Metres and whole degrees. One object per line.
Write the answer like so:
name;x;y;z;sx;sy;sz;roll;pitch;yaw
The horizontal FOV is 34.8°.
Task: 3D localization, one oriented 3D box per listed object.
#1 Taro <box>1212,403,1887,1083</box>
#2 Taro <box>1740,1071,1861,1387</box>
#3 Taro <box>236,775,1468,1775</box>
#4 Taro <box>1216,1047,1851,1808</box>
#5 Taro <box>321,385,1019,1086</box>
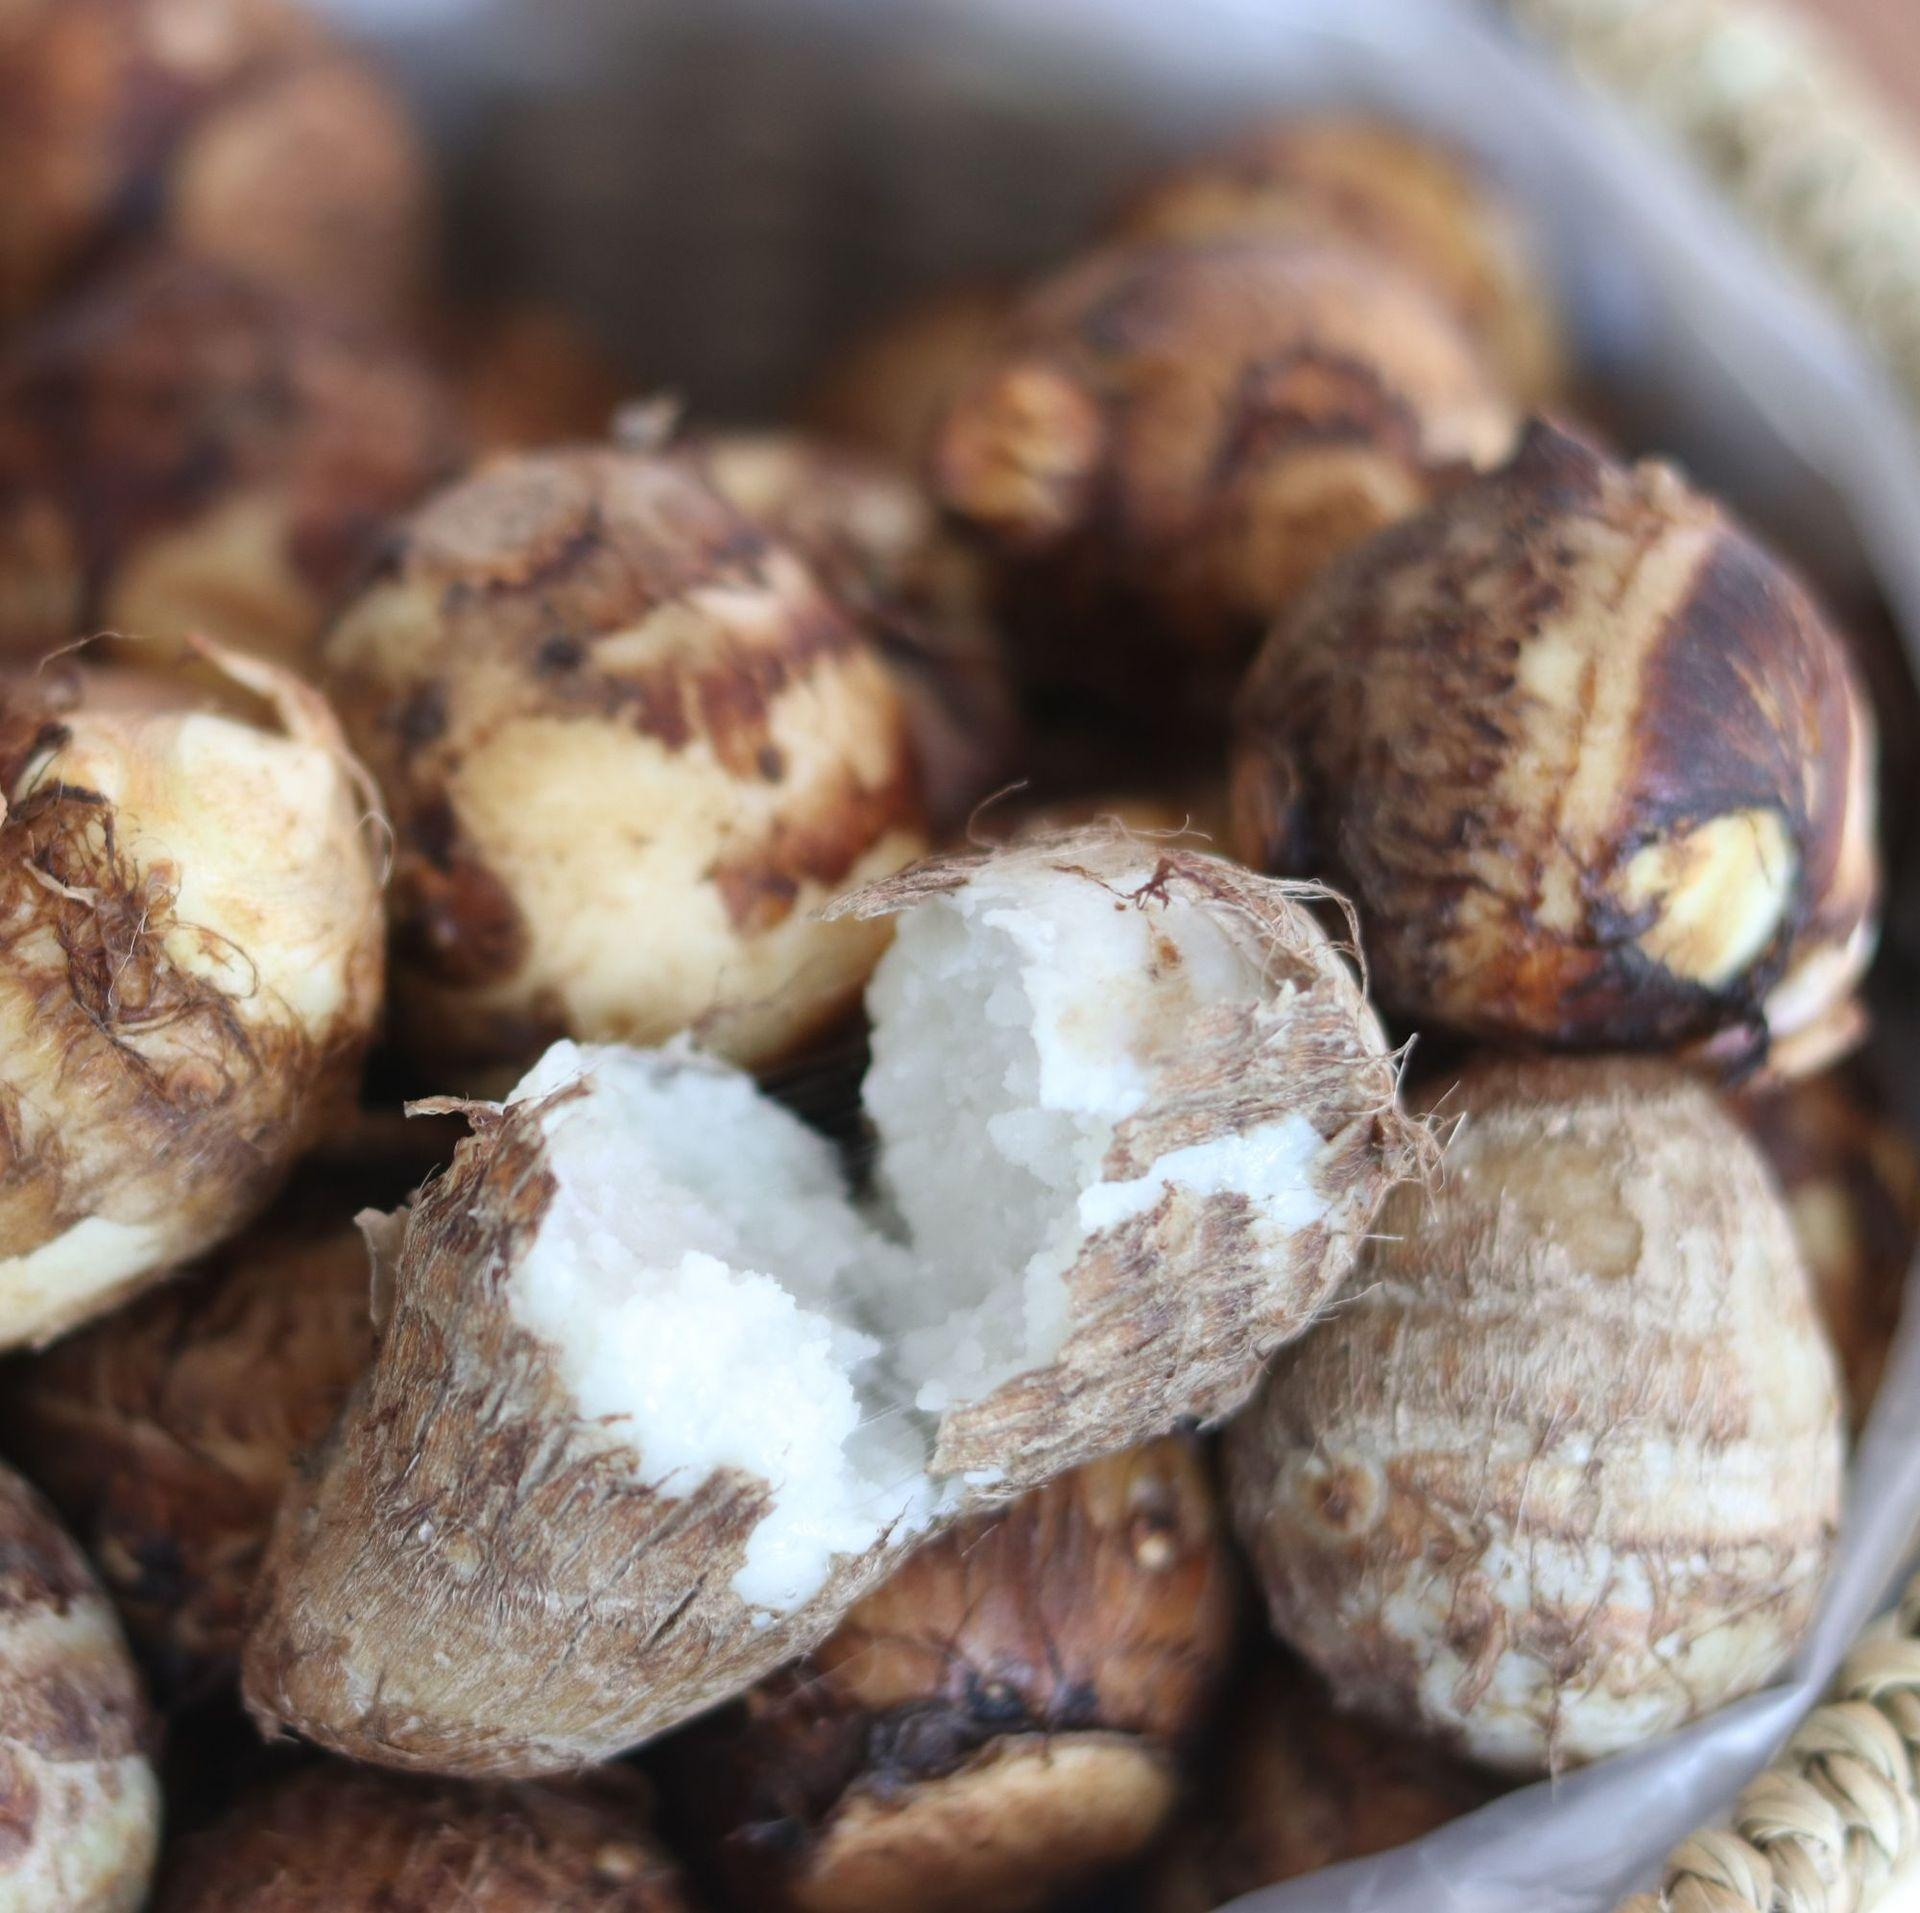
Taro;0.242;-0.076;1.287;0.265;0.215;0.222;34;102;32
Taro;0.352;0.117;1.312;0.048;0.034;0.134;-17;73;32
Taro;-0.038;0.139;1.195;0.451;0.224;0.277;-38;66;-11
Taro;0.252;0.196;1.269;0.245;0.197;0.324;4;35;24
Taro;-0.119;-0.078;1.331;0.275;0.153;0.237;-32;83;-13
